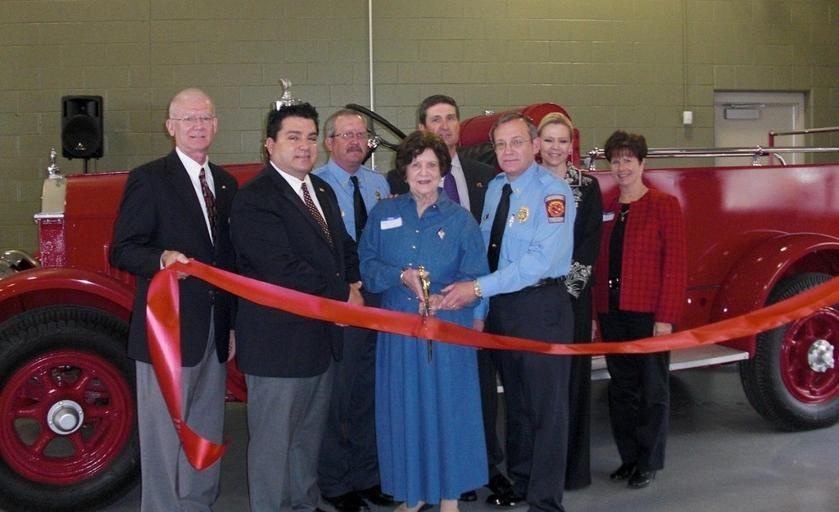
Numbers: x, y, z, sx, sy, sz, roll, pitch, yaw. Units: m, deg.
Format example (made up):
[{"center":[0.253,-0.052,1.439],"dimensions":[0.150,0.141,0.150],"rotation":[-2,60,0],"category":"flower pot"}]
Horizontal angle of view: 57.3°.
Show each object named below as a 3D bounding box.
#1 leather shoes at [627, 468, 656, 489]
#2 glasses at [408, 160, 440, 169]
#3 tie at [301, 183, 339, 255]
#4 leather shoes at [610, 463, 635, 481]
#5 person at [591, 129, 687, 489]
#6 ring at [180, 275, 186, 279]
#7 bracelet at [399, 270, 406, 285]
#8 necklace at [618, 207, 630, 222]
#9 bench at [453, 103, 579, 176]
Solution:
[{"center":[1.852,1.875,6.434],"dimensions":[0.262,0.113,0.117],"rotation":[8,-10,-41],"category":"leather shoes"},{"center":[0.033,-0.700,5.804],"dimensions":[0.224,0.064,0.028],"rotation":[-2,7,0],"category":"glasses"},{"center":[-0.769,-0.264,5.886],"dimensions":[0.091,0.630,0.075],"rotation":[-33,-10,5],"category":"tie"},{"center":[1.731,1.847,6.535],"dimensions":[0.239,0.101,0.100],"rotation":[4,-5,-19],"category":"leather shoes"},{"center":[1.845,0.426,6.508],"dimensions":[0.747,2.963,0.604],"rotation":[1,8,20],"category":"person"},{"center":[-1.747,0.157,5.703],"dimensions":[0.029,0.028,0.036],"rotation":[0,4,7],"category":"ring"},{"center":[-0.129,0.155,5.827],"dimensions":[0.032,0.083,0.073],"rotation":[8,12,-2],"category":"bracelet"},{"center":[1.750,-0.357,6.584],"dimensions":[0.030,0.113,0.120],"rotation":[16,-23,-11],"category":"necklace"},{"center":[0.835,-1.235,7.222],"dimensions":[1.157,0.513,0.566],"rotation":[4,20,42],"category":"bench"}]
